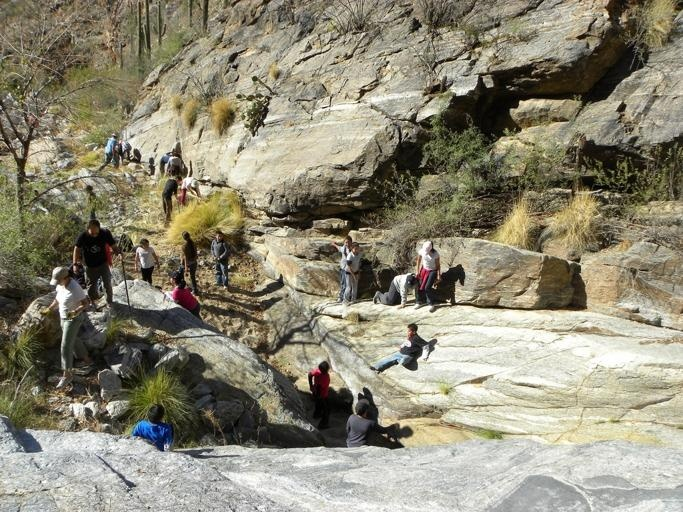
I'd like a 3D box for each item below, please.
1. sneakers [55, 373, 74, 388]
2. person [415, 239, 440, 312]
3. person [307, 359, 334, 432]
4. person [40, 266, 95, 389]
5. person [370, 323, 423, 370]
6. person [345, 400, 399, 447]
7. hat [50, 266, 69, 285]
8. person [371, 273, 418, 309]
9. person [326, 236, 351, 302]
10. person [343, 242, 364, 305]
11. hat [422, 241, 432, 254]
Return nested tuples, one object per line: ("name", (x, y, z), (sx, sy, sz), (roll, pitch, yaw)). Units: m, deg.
("sneakers", (-4.247, 1.883, 10.245), (0.140, 0.133, 0.285), (-6, 10, 19))
("person", (1.643, 0.354, 12.943), (0.416, 1.397, 0.476), (1, 10, -4))
("person", (-0.421, 2.501, 12.376), (0.350, 1.166, 0.557), (-4, 11, -27))
("person", (-4.221, 1.043, 10.311), (0.528, 1.851, 0.498), (-3, 11, -26))
("person", (1.015, 1.682, 12.281), (1.181, 0.620, 0.634), (-20, 21, -28))
("person", (0.549, 2.934, 11.676), (0.499, 0.485, 0.841), (22, -22, 18))
("hat", (-4.284, 0.271, 10.129), (0.240, 0.274, 0.380), (-3, 10, -22))
("person", (1.109, 0.690, 13.540), (0.370, 0.551, 1.079), (2, -6, -43))
("person", (-0.085, 0.306, 13.960), (0.327, 1.373, 1.252), (1, 7, -22))
("person", (0.199, 0.342, 13.601), (0.342, 1.235, 0.376), (1, 10, -4))
("hat", (1.601, -0.175, 12.650), (0.224, 0.201, 0.292), (4, -7, 1))
